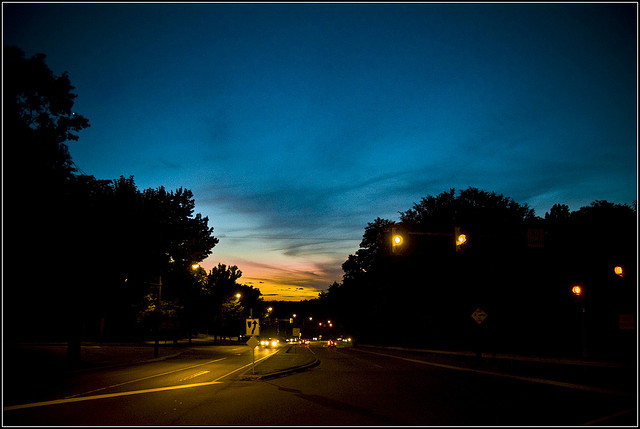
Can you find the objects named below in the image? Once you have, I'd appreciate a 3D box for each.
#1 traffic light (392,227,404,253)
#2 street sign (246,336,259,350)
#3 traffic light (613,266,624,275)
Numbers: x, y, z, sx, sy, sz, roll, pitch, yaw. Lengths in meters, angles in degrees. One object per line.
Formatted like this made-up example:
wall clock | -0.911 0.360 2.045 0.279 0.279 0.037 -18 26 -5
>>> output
traffic light | 4.465 1.404 31.333 0.727 1.404 0.692 3 -17 -11
street sign | -4.318 8.274 34.757 0.724 0.756 0.186 42 -39 4
traffic light | 20.099 3.750 36.508 0.536 0.702 0.890 -8 -19 25
